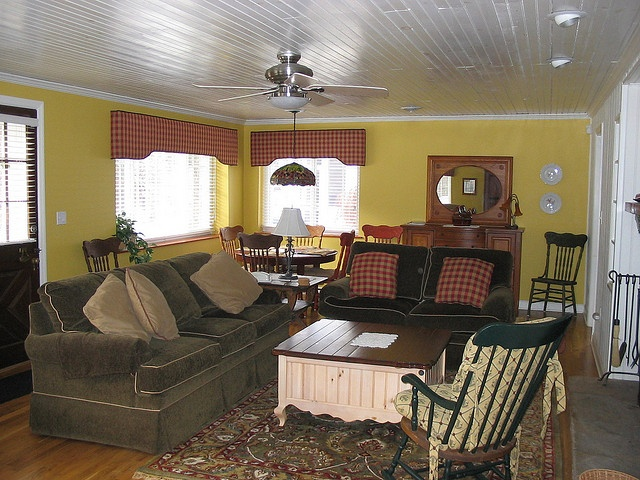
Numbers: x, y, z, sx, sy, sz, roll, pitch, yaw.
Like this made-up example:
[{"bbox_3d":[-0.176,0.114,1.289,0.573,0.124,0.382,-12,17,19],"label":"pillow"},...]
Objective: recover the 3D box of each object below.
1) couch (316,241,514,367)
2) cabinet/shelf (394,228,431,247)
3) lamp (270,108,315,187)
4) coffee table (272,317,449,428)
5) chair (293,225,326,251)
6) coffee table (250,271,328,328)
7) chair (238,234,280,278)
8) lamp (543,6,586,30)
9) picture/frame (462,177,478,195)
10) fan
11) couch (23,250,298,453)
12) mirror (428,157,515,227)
[{"bbox_3d":[1.075,0.633,5.263,2.016,0.892,1.045,1,13,24],"label":"couch"},{"bbox_3d":[1.354,-0.048,7.054,0.530,0.404,0.271,0,-1,15],"label":"cabinet/shelf"},{"bbox_3d":[-0.422,-1.378,7.261,0.640,1.137,2.047,0,7,-4],"label":"lamp"},{"bbox_3d":[0.330,0.822,3.718,1.115,0.461,0.790,2,6,21],"label":"coffee table"},{"bbox_3d":[-0.125,-0.035,7.714,0.455,0.544,0.426,1,-1,22],"label":"chair"},{"bbox_3d":[-0.409,0.559,5.396,0.838,0.410,0.782,2,6,22],"label":"coffee table"},{"bbox_3d":[-0.739,0.186,5.850,0.513,0.660,0.488,2,17,5],"label":"chair"},{"bbox_3d":[1.464,-1.355,2.874,0.176,0.106,0.223,1,7,-1],"label":"lamp"},{"bbox_3d":[2.234,-0.814,7.164,0.341,0.307,0.026,2,0,12],"label":"picture/frame"},{"bbox_3d":[-0.279,-1.479,4.432,1.013,0.258,1.017,-2,-2,42],"label":"fan"},{"bbox_3d":[-1.173,0.784,4.125,1.270,0.921,2.121,6,8,24],"label":"couch"},{"bbox_3d":[2.293,-0.721,7.127,1.346,0.901,0.125,1,1,14],"label":"mirror"}]
